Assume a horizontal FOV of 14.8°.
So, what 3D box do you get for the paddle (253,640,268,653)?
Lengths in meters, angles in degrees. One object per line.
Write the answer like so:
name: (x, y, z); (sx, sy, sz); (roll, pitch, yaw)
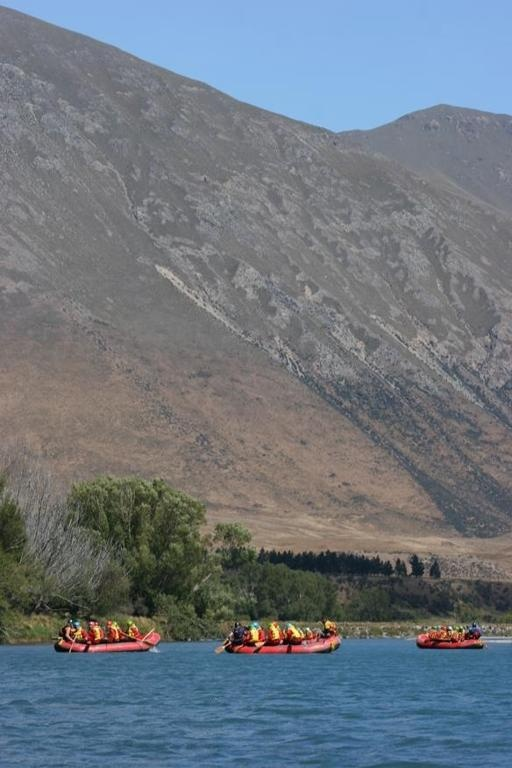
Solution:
paddle: (0.665, 25.861, 192.196); (1.187, 1.183, 0.699); (12, -1, 11)
